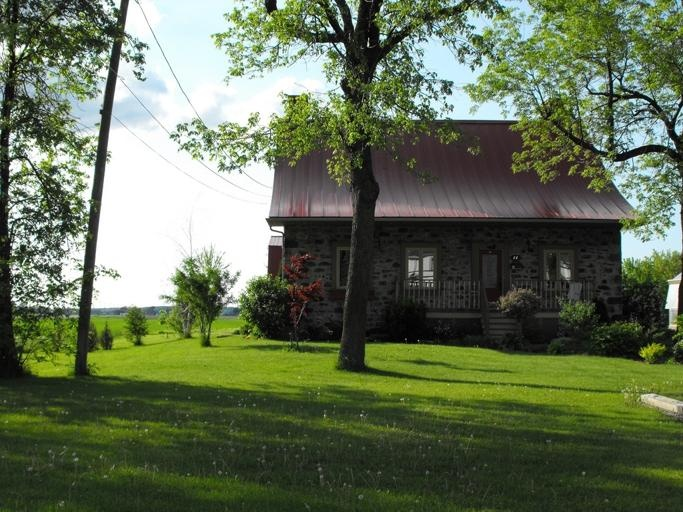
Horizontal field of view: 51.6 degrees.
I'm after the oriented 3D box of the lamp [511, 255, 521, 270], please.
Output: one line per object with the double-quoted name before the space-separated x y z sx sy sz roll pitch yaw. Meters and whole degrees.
"lamp" 6.735 0.221 27.384 0.435 0.691 0.340 -1 -11 2
